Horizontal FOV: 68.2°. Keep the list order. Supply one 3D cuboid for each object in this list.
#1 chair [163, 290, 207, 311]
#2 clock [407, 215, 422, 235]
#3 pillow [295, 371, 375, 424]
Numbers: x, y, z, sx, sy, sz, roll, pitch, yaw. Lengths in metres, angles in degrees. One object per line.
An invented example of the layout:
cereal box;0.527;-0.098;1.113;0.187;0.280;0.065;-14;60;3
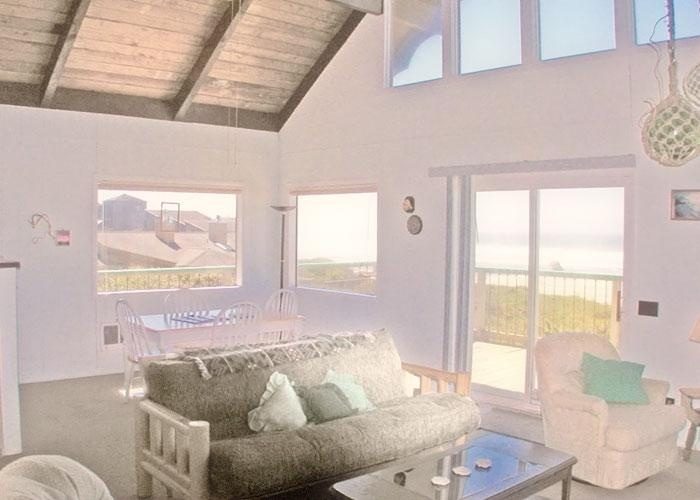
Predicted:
chair;-2.333;0.710;7.320;0.558;0.306;0.600;-1;5;-20
clock;0.829;-0.326;6.586;0.049;0.214;0.216;-6;-4;-45
pillow;-0.103;1.161;4.051;0.397;0.348;0.118;-3;-39;-39
